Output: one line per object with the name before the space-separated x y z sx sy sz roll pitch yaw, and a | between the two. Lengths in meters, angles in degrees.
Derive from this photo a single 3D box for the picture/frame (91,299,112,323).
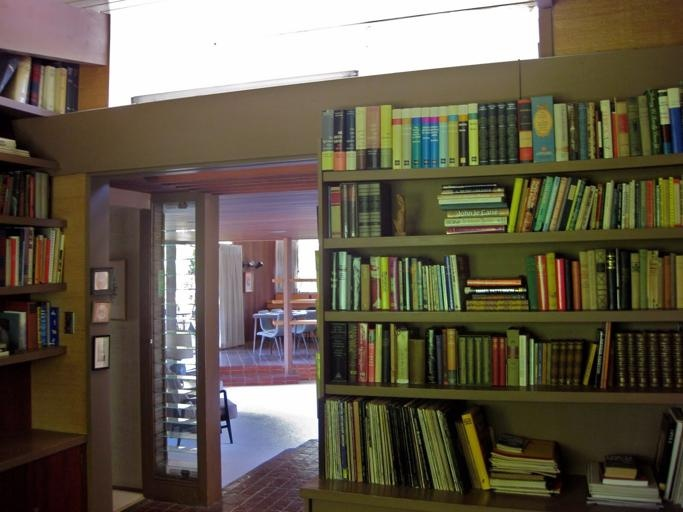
picture/frame | -1.694 0.386 4.210 0.028 0.184 0.199 -2 -3 31

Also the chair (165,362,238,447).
chair | -1.602 1.766 7.113 0.765 0.973 0.683 1 -14 -16

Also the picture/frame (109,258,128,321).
picture/frame | -2.041 0.308 5.500 0.149 0.587 0.077 -2 0 -19

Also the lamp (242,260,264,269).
lamp | -2.192 0.209 14.851 0.129 0.202 0.593 -1 1 44

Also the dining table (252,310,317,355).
dining table | -1.144 1.517 12.509 1.074 0.980 1.350 -1 -1 19
